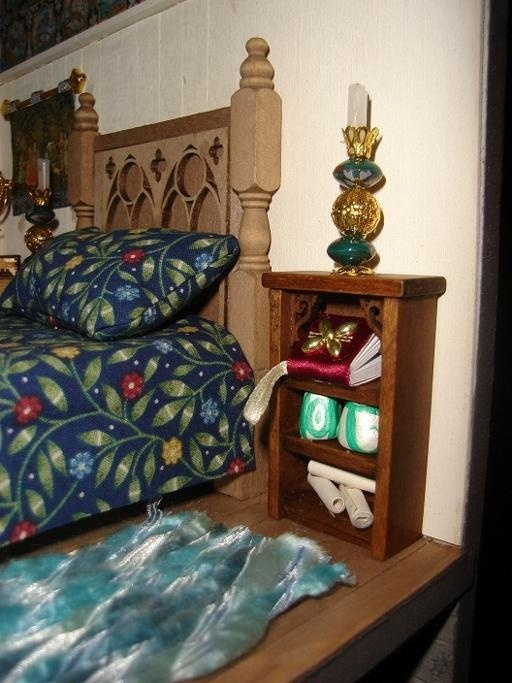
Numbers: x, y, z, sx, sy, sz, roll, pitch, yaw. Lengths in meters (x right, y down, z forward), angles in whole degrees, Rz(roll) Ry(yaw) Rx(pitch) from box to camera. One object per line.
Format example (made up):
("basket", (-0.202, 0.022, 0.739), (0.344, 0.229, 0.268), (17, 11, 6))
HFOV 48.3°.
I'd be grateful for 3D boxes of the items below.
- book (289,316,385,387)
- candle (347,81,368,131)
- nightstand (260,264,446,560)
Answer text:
("book", (0.165, 0.021, 1.212), (0.169, 0.058, 0.139), (8, 53, 42))
("candle", (0.225, -0.511, 1.266), (0.045, 0.093, 0.083), (4, 3, 8))
("nightstand", (0.224, 0.142, 1.285), (0.267, 0.581, 0.394), (1, 4, -39))
